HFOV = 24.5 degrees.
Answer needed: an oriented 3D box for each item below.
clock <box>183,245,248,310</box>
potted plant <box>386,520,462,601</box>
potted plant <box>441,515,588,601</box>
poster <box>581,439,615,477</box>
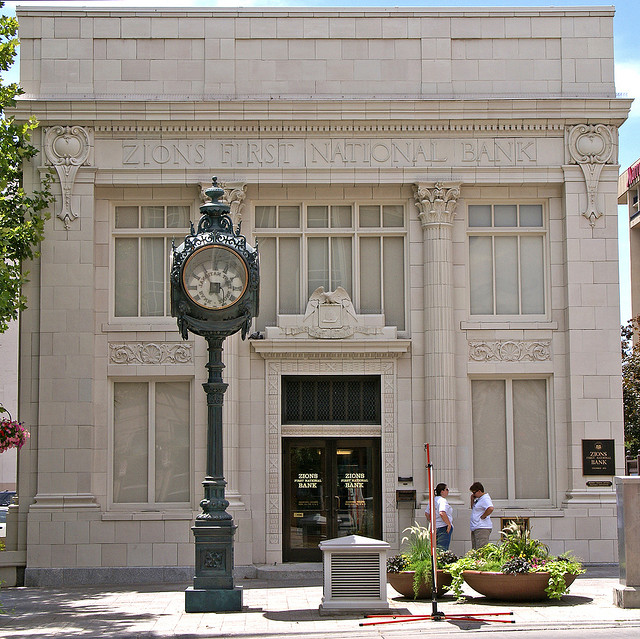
[{"bbox_3d":[-1.784,-0.761,25.338,1.055,1.082,0.132,0,-8,-7],"label":"clock"},{"bbox_3d":[1.774,4.256,26.167,1.348,1.432,1.296,0,-4,6],"label":"potted plant"},{"bbox_3d":[3.394,4.093,25.579,1.776,0.950,2.034,31,-21,-36],"label":"potted plant"},{"bbox_3d":[5.617,2.821,29.999,0.737,0.828,0.070,0,-3,1],"label":"poster"}]
